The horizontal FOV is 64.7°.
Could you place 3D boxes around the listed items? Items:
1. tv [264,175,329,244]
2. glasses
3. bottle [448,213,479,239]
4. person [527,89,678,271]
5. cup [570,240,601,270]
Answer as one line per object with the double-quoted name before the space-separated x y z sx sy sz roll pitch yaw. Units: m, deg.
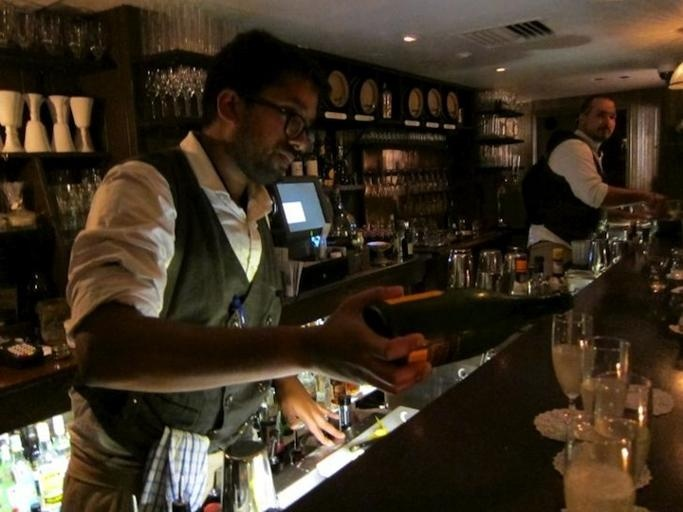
"tv" -0.318 -0.355 3.949 0.137 0.480 0.522 -14 7 35
"glasses" -0.191 -0.425 1.613 0.140 0.043 0.141 37 19 27
"bottle" 1.649 -0.408 7.374 0.450 0.432 0.392 -8 11 -39
"person" 2.001 -0.678 4.593 0.782 1.439 1.046 -1 6 11
"cup" 1.542 -0.013 3.528 0.197 0.219 0.206 0 -3 0
